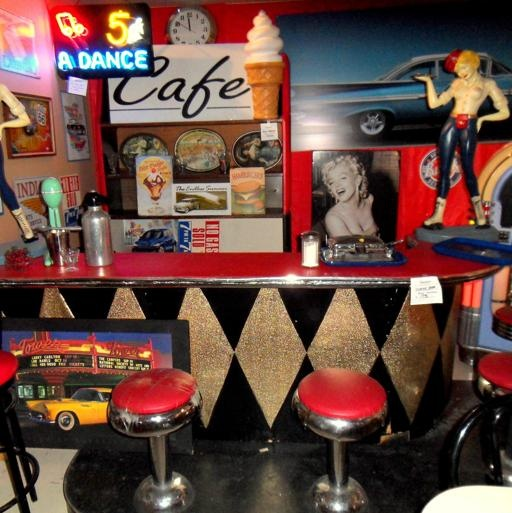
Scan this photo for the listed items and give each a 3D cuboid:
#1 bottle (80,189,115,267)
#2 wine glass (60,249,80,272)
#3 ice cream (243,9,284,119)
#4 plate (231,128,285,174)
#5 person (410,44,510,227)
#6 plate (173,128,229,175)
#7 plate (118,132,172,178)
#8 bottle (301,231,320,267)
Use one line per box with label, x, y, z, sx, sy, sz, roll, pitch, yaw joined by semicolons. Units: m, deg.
bottle;-0.816;-0.141;2.447;0.162;0.385;0.206;-11;21;-18
wine glass;-0.941;0.024;2.418;0.126;0.102;0.115;1;2;1
ice cream;0.055;-1.323;3.330;0.268;0.709;0.236;-4;20;1
plate;-0.036;-0.840;3.805;0.387;0.328;0.127;-3;16;15
person;1.342;-0.750;3.184;0.552;1.170;1.102;2;20;18
plate;-0.458;-0.864;3.937;0.429;0.346;0.125;-6;20;-6
plate;-0.984;-0.840;4.049;0.441;0.368;0.069;-1;10;-2
bottle;0.274;-0.042;2.417;0.097;0.168;0.167;-2;19;6
